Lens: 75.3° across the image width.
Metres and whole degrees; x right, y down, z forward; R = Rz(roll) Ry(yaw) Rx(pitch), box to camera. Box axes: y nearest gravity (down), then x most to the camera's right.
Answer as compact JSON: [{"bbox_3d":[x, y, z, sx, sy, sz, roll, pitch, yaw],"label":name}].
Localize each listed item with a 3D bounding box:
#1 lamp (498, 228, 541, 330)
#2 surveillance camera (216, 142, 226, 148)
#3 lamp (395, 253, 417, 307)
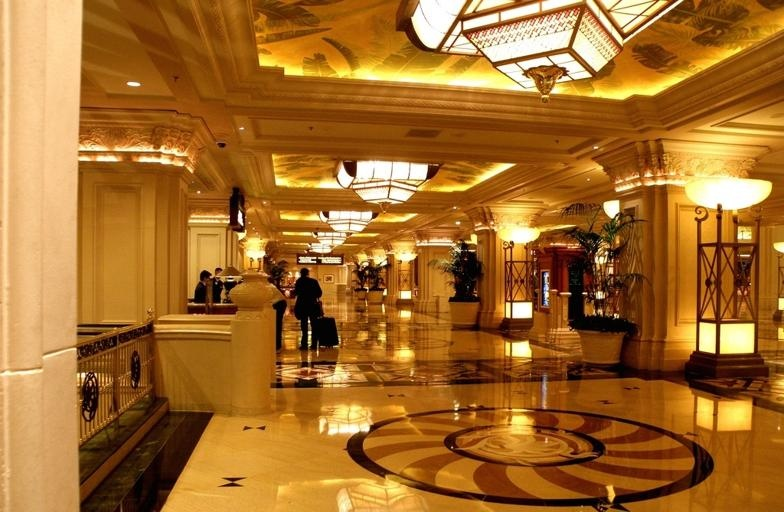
[{"bbox_3d":[3.884,0.678,15.653,0.979,3.003,2.640,0,-2,12],"label":"lamp"},{"bbox_3d":[-3.119,-2.048,9.283,0.091,0.018,0.072,-6,-26,-2],"label":"surveillance camera"},{"bbox_3d":[0.746,1.288,30.875,1.168,3.007,1.706,0,-2,0],"label":"lamp"}]
